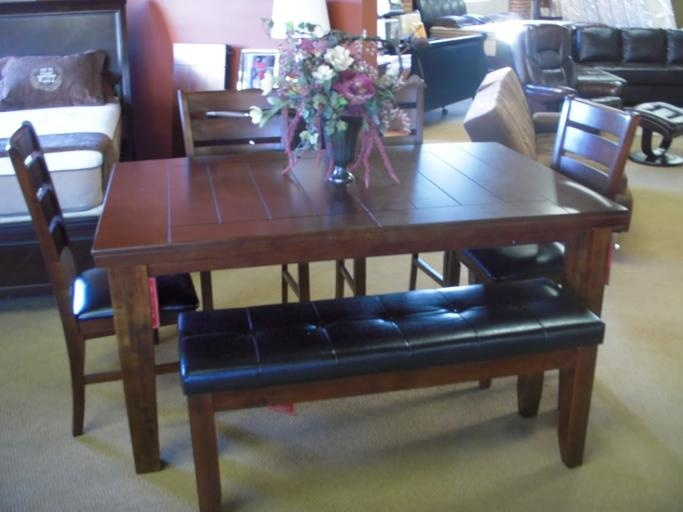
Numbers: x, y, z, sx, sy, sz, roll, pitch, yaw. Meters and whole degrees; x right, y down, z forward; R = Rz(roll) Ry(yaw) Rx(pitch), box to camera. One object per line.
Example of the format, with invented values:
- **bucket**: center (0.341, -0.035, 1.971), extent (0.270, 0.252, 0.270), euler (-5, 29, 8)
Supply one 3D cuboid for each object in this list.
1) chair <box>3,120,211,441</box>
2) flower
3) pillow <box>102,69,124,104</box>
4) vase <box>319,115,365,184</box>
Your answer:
- **chair**: center (-1.007, 0.154, 2.412), extent (0.794, 1.431, 0.709), euler (-6, 37, -16)
- **flower**: center (0.004, -0.550, 2.543), extent (0.810, 0.857, 0.794), euler (2, 26, -6)
- **pillow**: center (-1.710, -1.267, 4.303), extent (0.060, 0.237, 0.220), euler (-6, -8, 40)
- **vase**: center (-0.004, -0.413, 2.277), extent (0.210, 0.263, 0.219), euler (6, 11, 29)
